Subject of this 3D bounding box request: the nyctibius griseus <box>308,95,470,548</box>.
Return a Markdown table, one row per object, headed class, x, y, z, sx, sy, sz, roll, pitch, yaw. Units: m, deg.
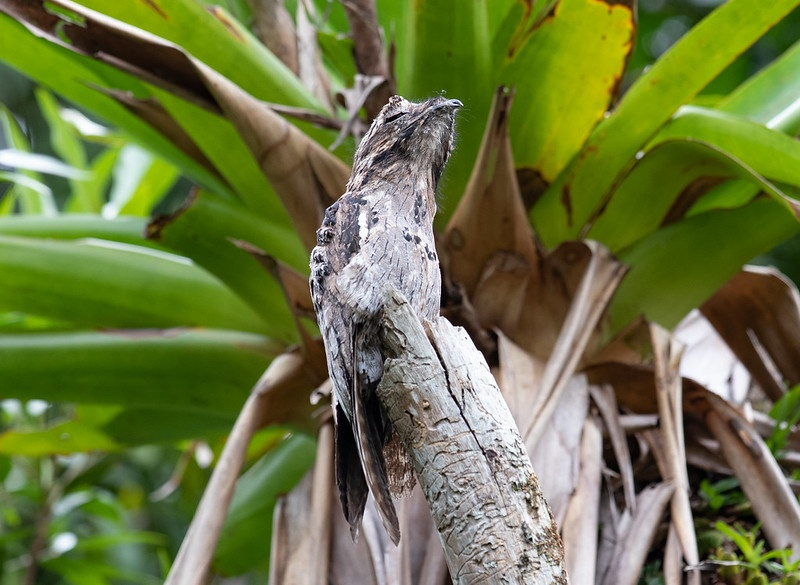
| class | x | y | z | sx | sy | sz | roll | pitch | yaw |
| --- | --- | --- | --- | --- | --- | --- | --- | --- | --- |
| nyctibius griseus | -0.067 | 0.086 | 3.061 | 0.533 | 1.394 | 1.042 | 1 | 18 | 7 |
